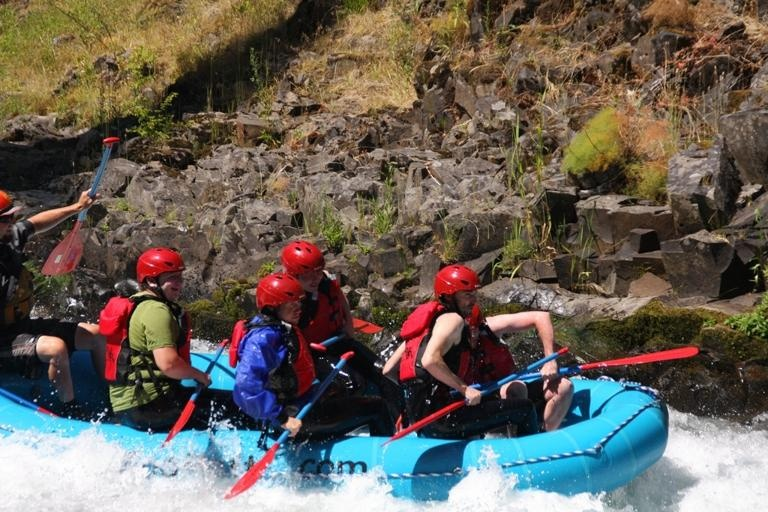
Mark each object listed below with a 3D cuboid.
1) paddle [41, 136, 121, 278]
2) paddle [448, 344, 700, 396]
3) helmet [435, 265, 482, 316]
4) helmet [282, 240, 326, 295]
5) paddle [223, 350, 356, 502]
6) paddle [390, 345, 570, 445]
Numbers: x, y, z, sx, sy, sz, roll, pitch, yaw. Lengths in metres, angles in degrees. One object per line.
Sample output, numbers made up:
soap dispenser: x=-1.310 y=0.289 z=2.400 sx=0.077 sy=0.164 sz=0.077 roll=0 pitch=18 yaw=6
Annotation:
paddle: x=-5.597 y=-0.841 z=16.590 sx=0.632 sy=3.221 sz=0.509 roll=20 pitch=10 yaw=-19
paddle: x=2.432 y=1.443 z=11.160 sx=2.088 sy=0.276 sz=0.164 roll=-16 pitch=-1 yaw=2
helmet: x=0.888 y=0.406 z=10.804 sx=0.521 sy=0.666 sz=0.447 roll=1 pitch=8 yaw=21
helmet: x=-1.021 y=0.114 z=11.317 sx=0.523 sy=0.630 sz=0.462 roll=6 pitch=26 yaw=31
paddle: x=-1.133 y=2.055 z=10.530 sx=1.955 sy=0.272 sz=0.104 roll=-52 pitch=4 yaw=-20
paddle: x=1.130 y=1.670 z=10.627 sx=2.065 sy=0.259 sz=0.102 roll=-30 pitch=-8 yaw=-3
